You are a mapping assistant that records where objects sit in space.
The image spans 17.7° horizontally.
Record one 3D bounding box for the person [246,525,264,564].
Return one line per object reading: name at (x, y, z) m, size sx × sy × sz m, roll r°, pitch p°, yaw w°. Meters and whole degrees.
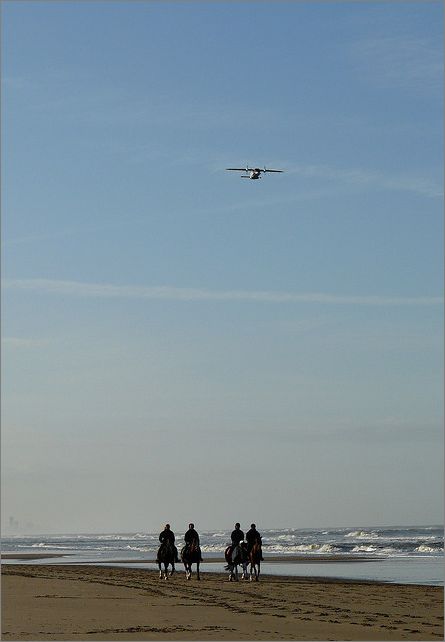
person at (1.099, 8.339, 53.135) m, size 0.556 × 1.161 × 1.524 m, roll -3°, pitch -18°, yaw -1°
